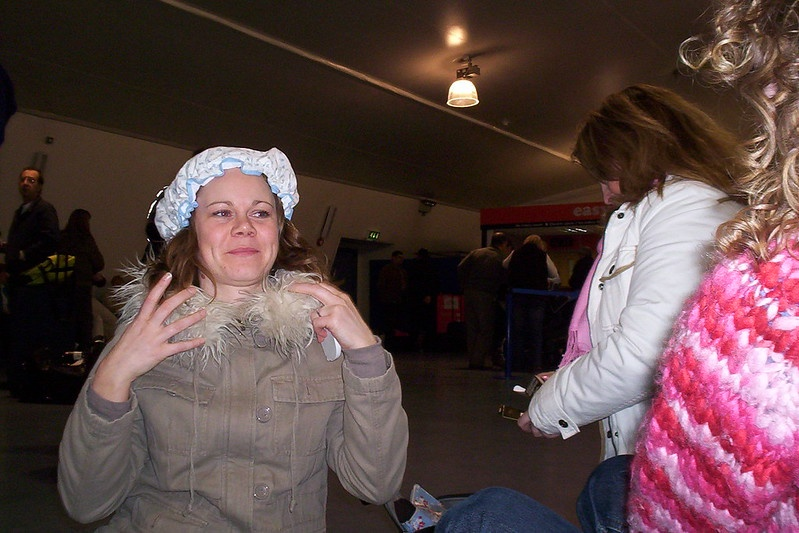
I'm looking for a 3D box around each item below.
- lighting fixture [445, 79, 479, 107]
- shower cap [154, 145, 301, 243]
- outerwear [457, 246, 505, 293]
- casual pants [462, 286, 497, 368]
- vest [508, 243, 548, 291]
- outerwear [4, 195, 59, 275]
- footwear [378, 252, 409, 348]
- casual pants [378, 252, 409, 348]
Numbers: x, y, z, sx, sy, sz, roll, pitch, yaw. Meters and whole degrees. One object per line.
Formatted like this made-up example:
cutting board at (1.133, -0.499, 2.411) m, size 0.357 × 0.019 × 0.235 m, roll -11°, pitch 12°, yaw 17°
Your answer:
lighting fixture at (0.766, -1.954, 7.093) m, size 0.288 × 0.325 × 0.342 m, roll 2°, pitch -4°, yaw -20°
shower cap at (-0.478, -0.186, 1.548) m, size 0.344 × 0.261 × 0.111 m, roll -18°, pitch 43°, yaw -27°
outerwear at (1.147, 0.217, 7.589) m, size 0.784 × 0.660 × 0.406 m, roll 8°, pitch 20°, yaw 6°
casual pants at (1.072, 0.905, 7.596) m, size 0.315 × 0.986 × 0.454 m, roll -4°, pitch 6°, yaw -36°
vest at (1.697, 0.160, 7.455) m, size 0.473 × 0.607 × 0.351 m, roll 6°, pitch 32°, yaw 20°
outerwear at (-3.413, -0.157, 5.229) m, size 0.490 × 0.778 × 0.824 m, roll 7°, pitch 8°, yaw -35°
footwear at (-0.064, 0.755, 10.776) m, size 0.579 × 1.760 × 0.552 m, roll -14°, pitch 22°, yaw -35°
casual pants at (-0.080, 0.761, 10.795) m, size 0.557 × 1.786 × 0.525 m, roll -9°, pitch 20°, yaw -23°
